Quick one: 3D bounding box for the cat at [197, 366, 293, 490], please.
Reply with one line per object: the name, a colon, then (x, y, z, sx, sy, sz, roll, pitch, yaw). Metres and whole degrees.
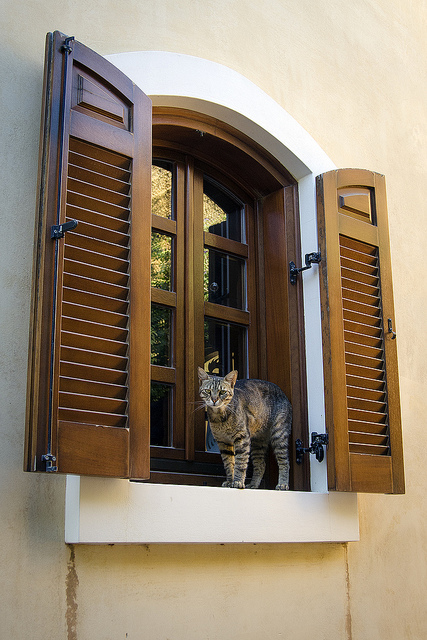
cat: (0.117, 0.386, 2.537, 0.215, 0.421, 0.381, -13, -16, 37)

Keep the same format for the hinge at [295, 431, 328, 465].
hinge: (0.332, 0.417, 2.476, 0.096, 0.154, 0.127, 1, -5, -12)

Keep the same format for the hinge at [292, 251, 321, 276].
hinge: (0.342, -0.204, 2.641, 0.085, 0.062, 0.052, -18, 10, 5)
